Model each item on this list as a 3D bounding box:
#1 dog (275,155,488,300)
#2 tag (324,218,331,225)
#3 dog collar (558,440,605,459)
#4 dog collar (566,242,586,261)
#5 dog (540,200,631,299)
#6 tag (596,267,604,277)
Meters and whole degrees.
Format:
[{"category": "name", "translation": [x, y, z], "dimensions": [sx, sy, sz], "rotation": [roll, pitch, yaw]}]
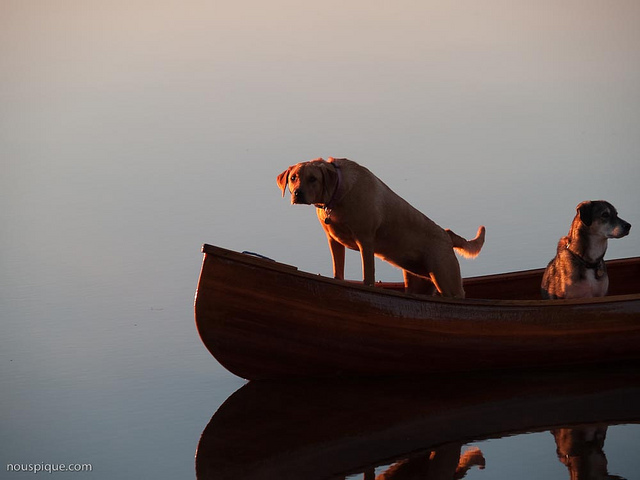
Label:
[{"category": "dog", "translation": [0.526, 0.012, 7.790], "dimensions": [2.067, 0.959, 0.476], "rotation": [22, -20, -32]}, {"category": "tag", "translation": [0.054, -0.152, 7.547], "dimensions": [0.056, 0.050, 0.013], "rotation": [-5, -3, -5]}, {"category": "dog collar", "translation": [1.839, 1.460, 6.877], "dimensions": [0.167, 0.038, 0.152], "rotation": [-19, -8, -16]}, {"category": "dog collar", "translation": [2.062, 0.078, 8.001], "dimensions": [0.028, 0.237, 0.060], "rotation": [-43, -17, 0]}, {"category": "dog", "translation": [2.243, 0.292, 8.267], "dimensions": [0.633, 1.101, 1.185], "rotation": [4, -11, 1]}, {"category": "tag", "translation": [2.266, 0.257, 7.944], "dimensions": [0.047, 0.076, 0.018], "rotation": [-25, -5, -22]}]
